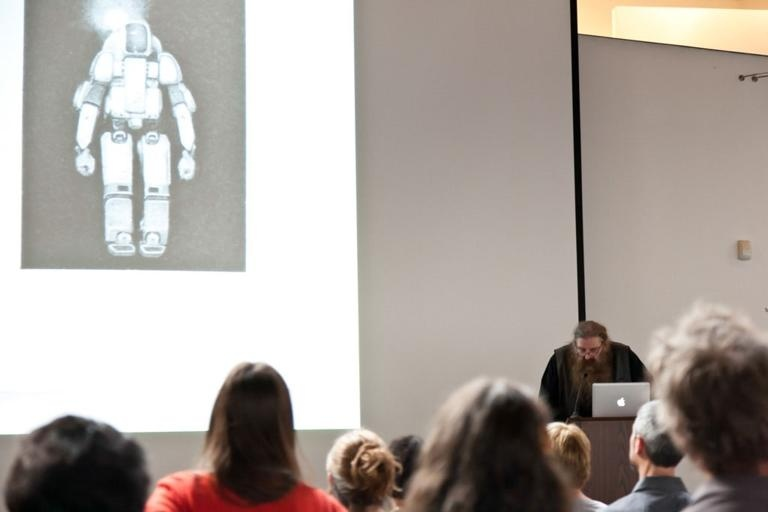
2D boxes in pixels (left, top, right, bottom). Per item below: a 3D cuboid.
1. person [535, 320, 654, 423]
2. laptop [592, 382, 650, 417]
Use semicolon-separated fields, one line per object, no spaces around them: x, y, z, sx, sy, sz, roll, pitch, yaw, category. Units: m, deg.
1.503;0.925;7.235;0.750;1.013;0.423;0;16;8;person
1.519;0.929;6.553;0.292;0.221;0.223;1;-6;-1;laptop
